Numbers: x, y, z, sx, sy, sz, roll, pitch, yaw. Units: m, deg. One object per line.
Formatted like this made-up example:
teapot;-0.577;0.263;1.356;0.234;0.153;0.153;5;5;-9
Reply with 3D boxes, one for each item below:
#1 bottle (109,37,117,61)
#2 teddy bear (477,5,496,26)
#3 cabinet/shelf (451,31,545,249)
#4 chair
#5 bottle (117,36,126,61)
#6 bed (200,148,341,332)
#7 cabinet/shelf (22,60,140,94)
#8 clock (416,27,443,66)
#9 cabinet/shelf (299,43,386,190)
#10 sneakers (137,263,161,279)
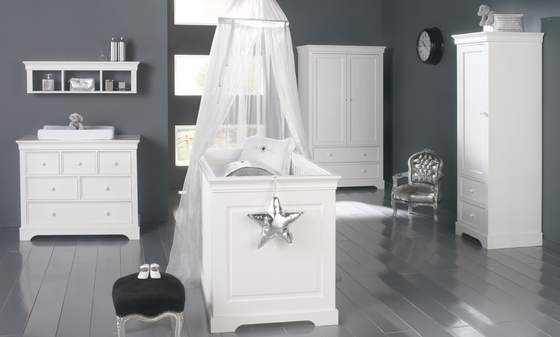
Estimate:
bottle;-2.217;-1.592;5.522;0.101;0.304;0.090;-10;12;-32
teddy bear;2.504;-1.846;5.015;0.166;0.239;0.250;1;11;25
cabinet/shelf;2.626;-0.334;4.950;0.946;2.562;0.700;0;11;23
chair;2.000;0.228;6.060;0.719;0.914;0.637;-1;13;19
bottle;-2.124;-1.610;5.559;0.110;0.326;0.137;-4;10;-2
bed;-0.087;0.747;3.553;0.907;0.999;1.578;-1;8;-8
cabinet/shelf;-2.626;-1.218;5.515;1.520;0.493;0.218;-4;10;-4
clock;2.467;-1.984;6.766;0.168;0.593;0.518;-7;10;-15
cabinet/shelf;1.164;-0.905;7.528;1.510;2.660;0.599;-3;10;7
sneakers;-1.100;0.879;3.533;0.134;0.052;0.176;-1;2;-8
